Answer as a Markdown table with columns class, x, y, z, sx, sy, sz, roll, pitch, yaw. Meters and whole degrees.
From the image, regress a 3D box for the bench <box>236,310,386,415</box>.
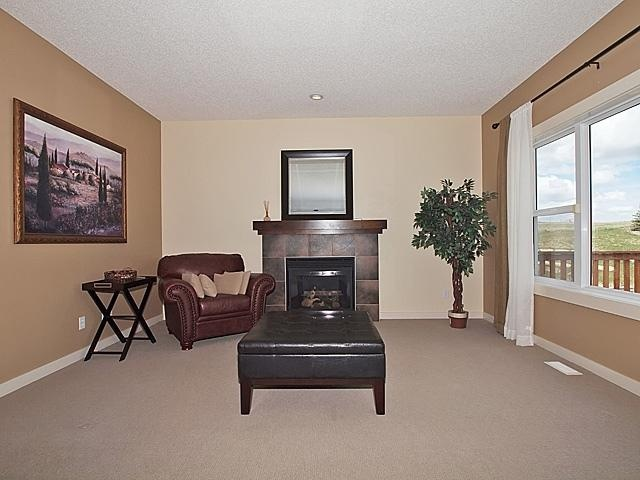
| class | x | y | z | sx | sy | sz | roll | pitch | yaw |
| --- | --- | --- | --- | --- | --- | --- | --- | --- | --- |
| bench | -0.057 | 1.243 | 4.229 | 1.222 | 0.566 | 1.641 | -1 | -10 | 2 |

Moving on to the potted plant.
| class | x | y | z | sx | sy | sz | roll | pitch | yaw |
| --- | --- | --- | --- | --- | --- | --- | --- | --- | --- |
| potted plant | 1.757 | 0.194 | 5.698 | 1.013 | 1.954 | 0.468 | 5 | 15 | 21 |

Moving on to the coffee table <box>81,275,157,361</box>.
| class | x | y | z | sx | sy | sz | roll | pitch | yaw |
| --- | --- | --- | --- | --- | --- | --- | --- | --- | --- |
| coffee table | -2.235 | 0.859 | 4.865 | 0.674 | 0.802 | 0.764 | -2 | 0 | 32 |

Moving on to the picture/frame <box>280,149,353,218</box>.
| class | x | y | z | sx | sy | sz | roll | pitch | yaw |
| --- | --- | --- | --- | --- | --- | --- | --- | --- | --- |
| picture/frame | -0.025 | -0.841 | 6.338 | 1.112 | 0.971 | 0.077 | 0 | 2 | 2 |

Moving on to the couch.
| class | x | y | z | sx | sy | sz | roll | pitch | yaw |
| --- | --- | --- | --- | --- | --- | --- | --- | --- | --- |
| couch | -1.397 | 0.693 | 5.490 | 1.346 | 0.965 | 0.957 | -1 | 6 | -36 |
